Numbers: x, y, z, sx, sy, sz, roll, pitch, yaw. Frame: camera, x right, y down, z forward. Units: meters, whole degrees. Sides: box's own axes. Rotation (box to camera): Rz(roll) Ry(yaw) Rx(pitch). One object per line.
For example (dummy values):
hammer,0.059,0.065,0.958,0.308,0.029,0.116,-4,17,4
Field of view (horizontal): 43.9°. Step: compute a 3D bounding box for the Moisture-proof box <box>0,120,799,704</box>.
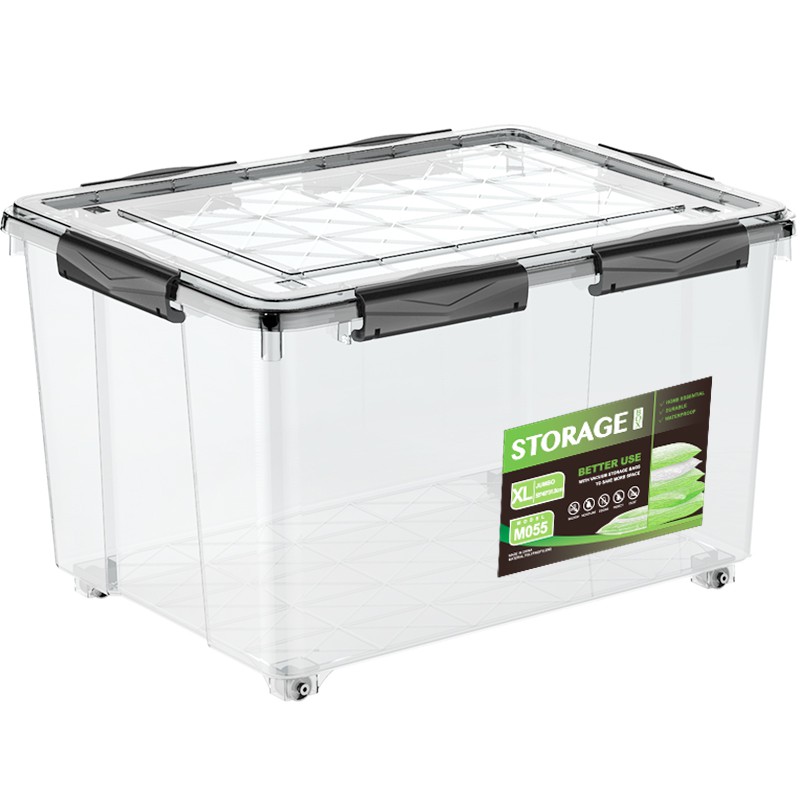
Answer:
Moisture-proof box,0.170,-0.071,1.937,1.409,0.909,0.686,-15,-60,-33
